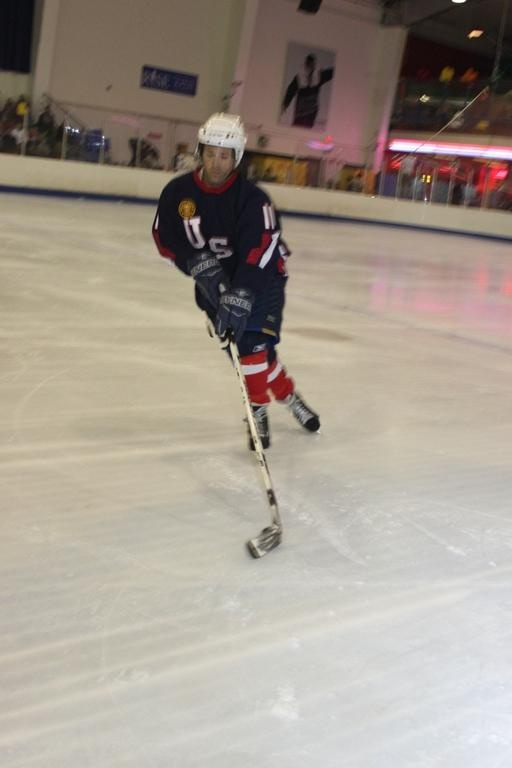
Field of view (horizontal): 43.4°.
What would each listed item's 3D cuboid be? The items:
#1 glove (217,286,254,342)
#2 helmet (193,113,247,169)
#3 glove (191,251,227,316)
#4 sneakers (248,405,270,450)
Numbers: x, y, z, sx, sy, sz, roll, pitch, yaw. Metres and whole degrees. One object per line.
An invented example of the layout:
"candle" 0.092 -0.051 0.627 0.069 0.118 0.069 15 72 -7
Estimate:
"glove" -0.050 -0.183 1.689 0.104 0.128 0.058 0 0 20
"helmet" -0.083 -0.655 1.704 0.108 0.128 0.122 9 -22 4
"glove" -0.120 -0.274 1.768 0.101 0.163 0.065 -18 8 29
"sneakers" 0.009 0.121 1.801 0.051 0.166 0.041 -30 55 -11
